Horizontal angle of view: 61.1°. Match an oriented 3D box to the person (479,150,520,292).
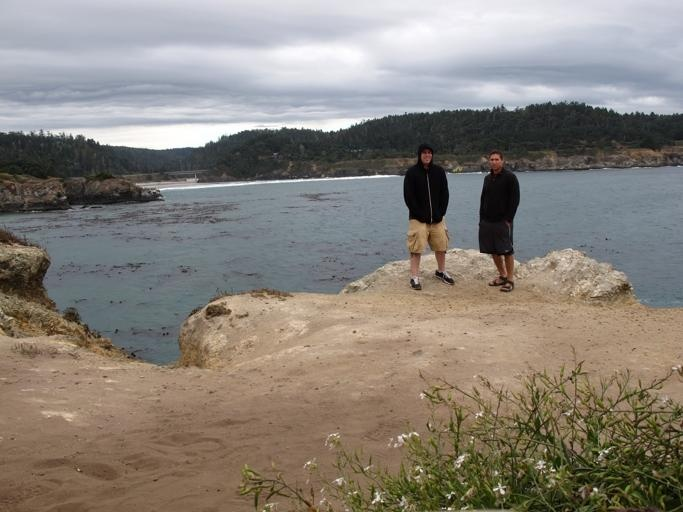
[{"bbox_3d":[3.345,-0.685,12.289,0.883,3.055,1.341,-6,12,13],"label":"person"}]
